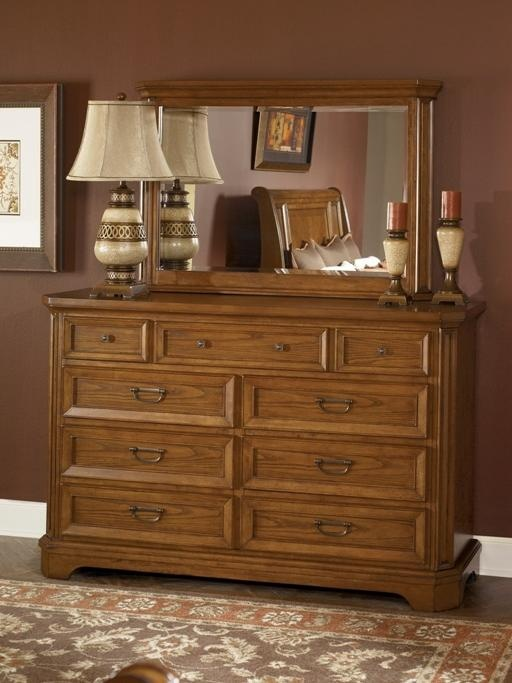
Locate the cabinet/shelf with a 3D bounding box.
[{"bbox_3d":[0.009,0.380,2.420,1.299,0.718,0.419,1,5,14],"label":"cabinet/shelf"}]

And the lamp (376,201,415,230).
[{"bbox_3d":[0.485,-0.431,2.506,0.063,0.104,0.132,1,0,4],"label":"lamp"}]

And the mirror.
[{"bbox_3d":[0.130,-0.624,2.938,1.302,0.796,0.116,11,26,30],"label":"mirror"}]

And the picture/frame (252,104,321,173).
[{"bbox_3d":[0.123,-0.767,2.723,0.296,0.271,0.021,5,6,6],"label":"picture/frame"}]

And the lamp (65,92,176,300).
[{"bbox_3d":[-0.443,-0.516,2.563,0.312,0.712,0.334,1,0,29],"label":"lamp"}]
